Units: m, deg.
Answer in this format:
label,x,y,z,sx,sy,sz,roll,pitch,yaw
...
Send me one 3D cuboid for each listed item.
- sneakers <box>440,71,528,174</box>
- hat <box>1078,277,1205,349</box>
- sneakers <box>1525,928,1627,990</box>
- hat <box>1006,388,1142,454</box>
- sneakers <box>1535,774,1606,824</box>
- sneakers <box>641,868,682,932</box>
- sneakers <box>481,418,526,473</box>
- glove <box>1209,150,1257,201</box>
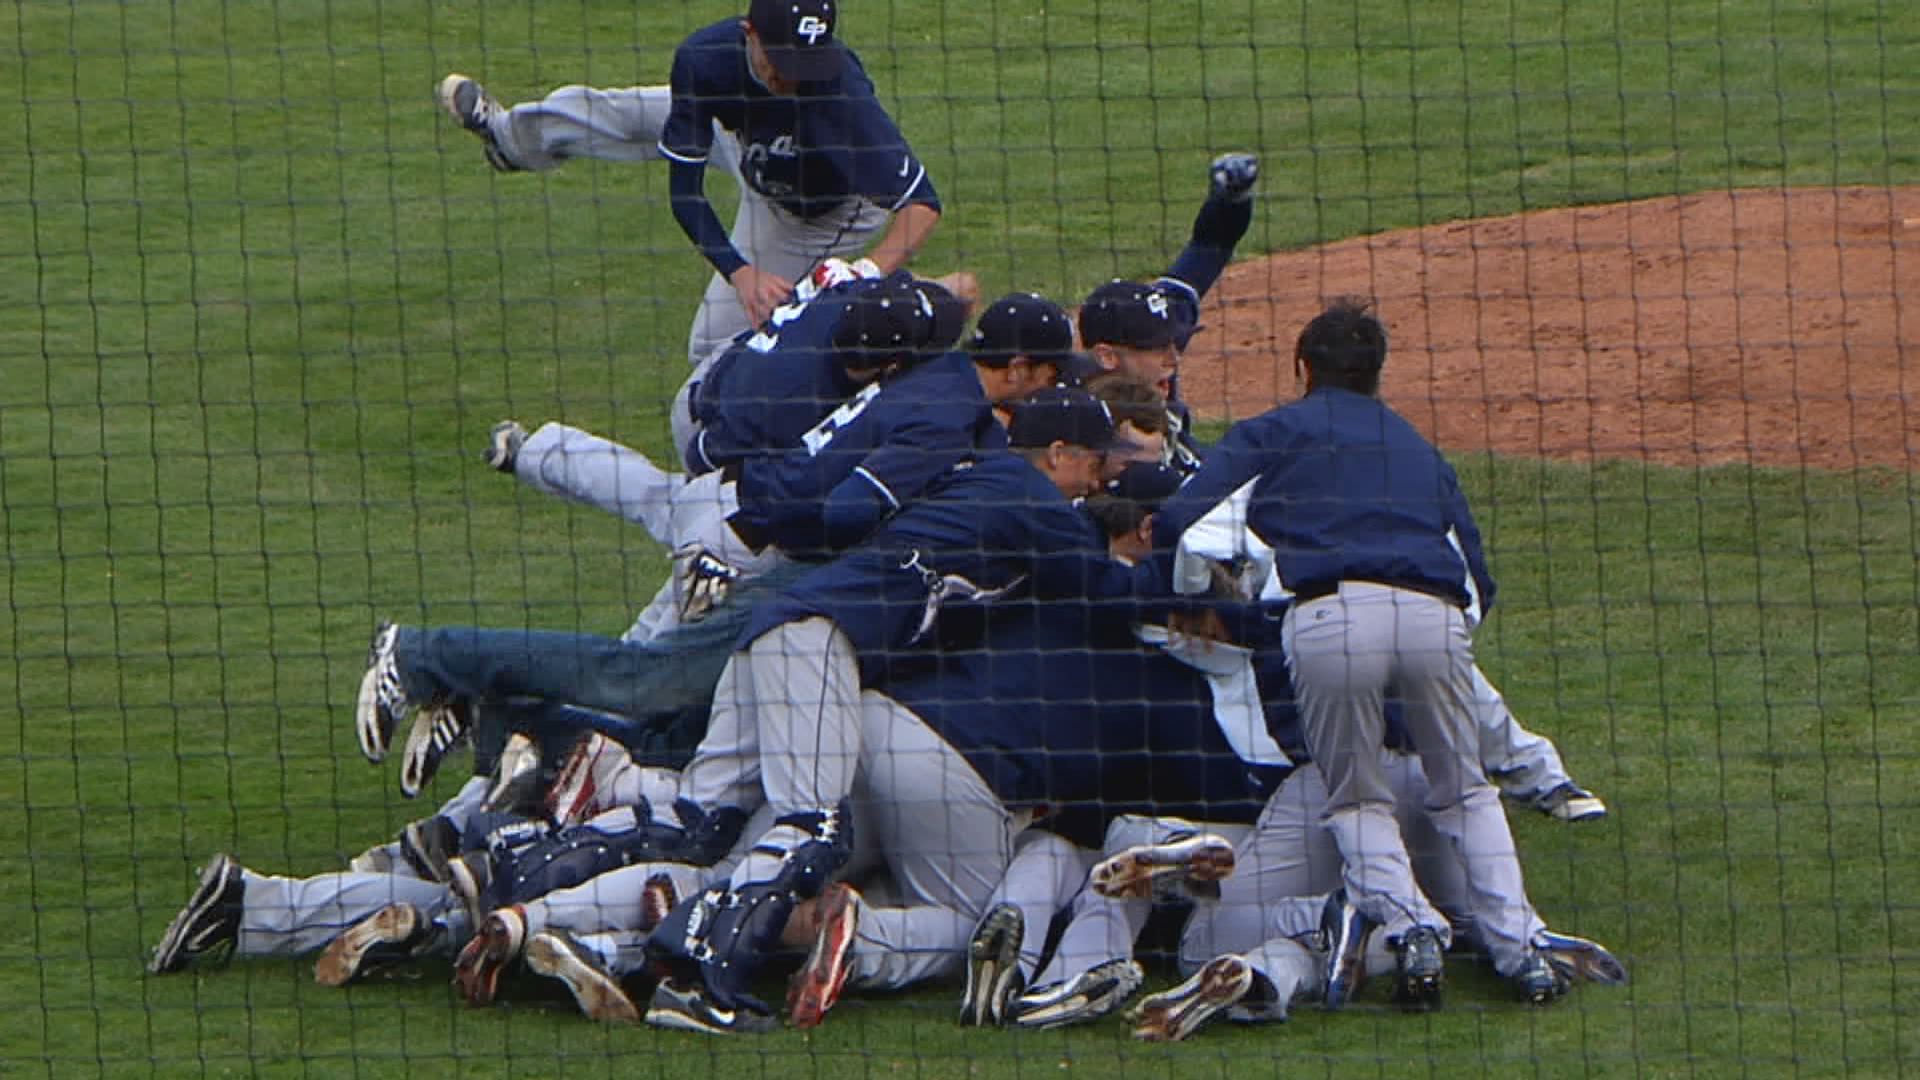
label,x,y,z,sx,sy,sz,roll,pitch,yaw
sneakers,-2.818,-2.550,23.572,0.576,0.172,0.221,-21,7,22
hat,0.964,-1.284,22.166,0.779,0.329,0.512,6,17,24
sneakers,3.200,2.174,20.720,0.486,0.158,0.259,18,20,3
hat,0.585,-0.633,21.189,0.555,0.216,0.334,-3,9,-13
sneakers,3.221,1.400,21.265,0.426,0.142,0.192,5,6,7
sneakers,-1.540,1.857,20.559,0.172,0.278,0.140,13,-3,-10
sneakers,-2.570,-0.532,22.768,0.307,0.247,0.142,1,2,-5
glove,1.542,-2.060,22.567,0.319,0.244,0.300,-1,-13,2
